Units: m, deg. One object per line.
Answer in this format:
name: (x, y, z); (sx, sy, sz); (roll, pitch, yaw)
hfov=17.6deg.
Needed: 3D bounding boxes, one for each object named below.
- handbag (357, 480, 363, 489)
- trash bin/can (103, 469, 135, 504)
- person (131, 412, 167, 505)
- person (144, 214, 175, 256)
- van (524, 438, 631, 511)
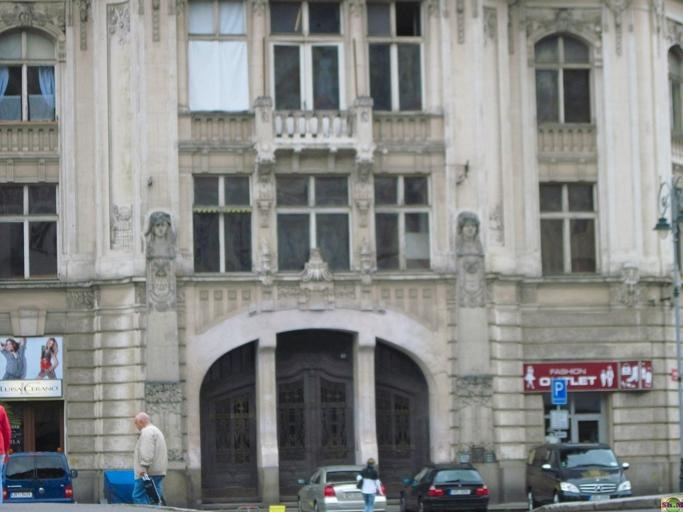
handbag: (0.646, 7.318, 70.416); (0.214, 0.387, 0.352); (-3, -10, 3)
trash bin/can: (-6.996, 7.554, 71.076); (1.254, 0.488, 1.224); (0, 8, -14)
person: (-5.354, 5.759, 62.658); (0.929, 2.599, 0.953); (-2, -8, -6)
person: (-6.128, -0.639, 75.761); (1.379, 1.866, 0.596); (1, -8, -10)
van: (7.532, 7.142, 72.273); (3.578, 2.086, 1.934); (-10, -11, 43)
